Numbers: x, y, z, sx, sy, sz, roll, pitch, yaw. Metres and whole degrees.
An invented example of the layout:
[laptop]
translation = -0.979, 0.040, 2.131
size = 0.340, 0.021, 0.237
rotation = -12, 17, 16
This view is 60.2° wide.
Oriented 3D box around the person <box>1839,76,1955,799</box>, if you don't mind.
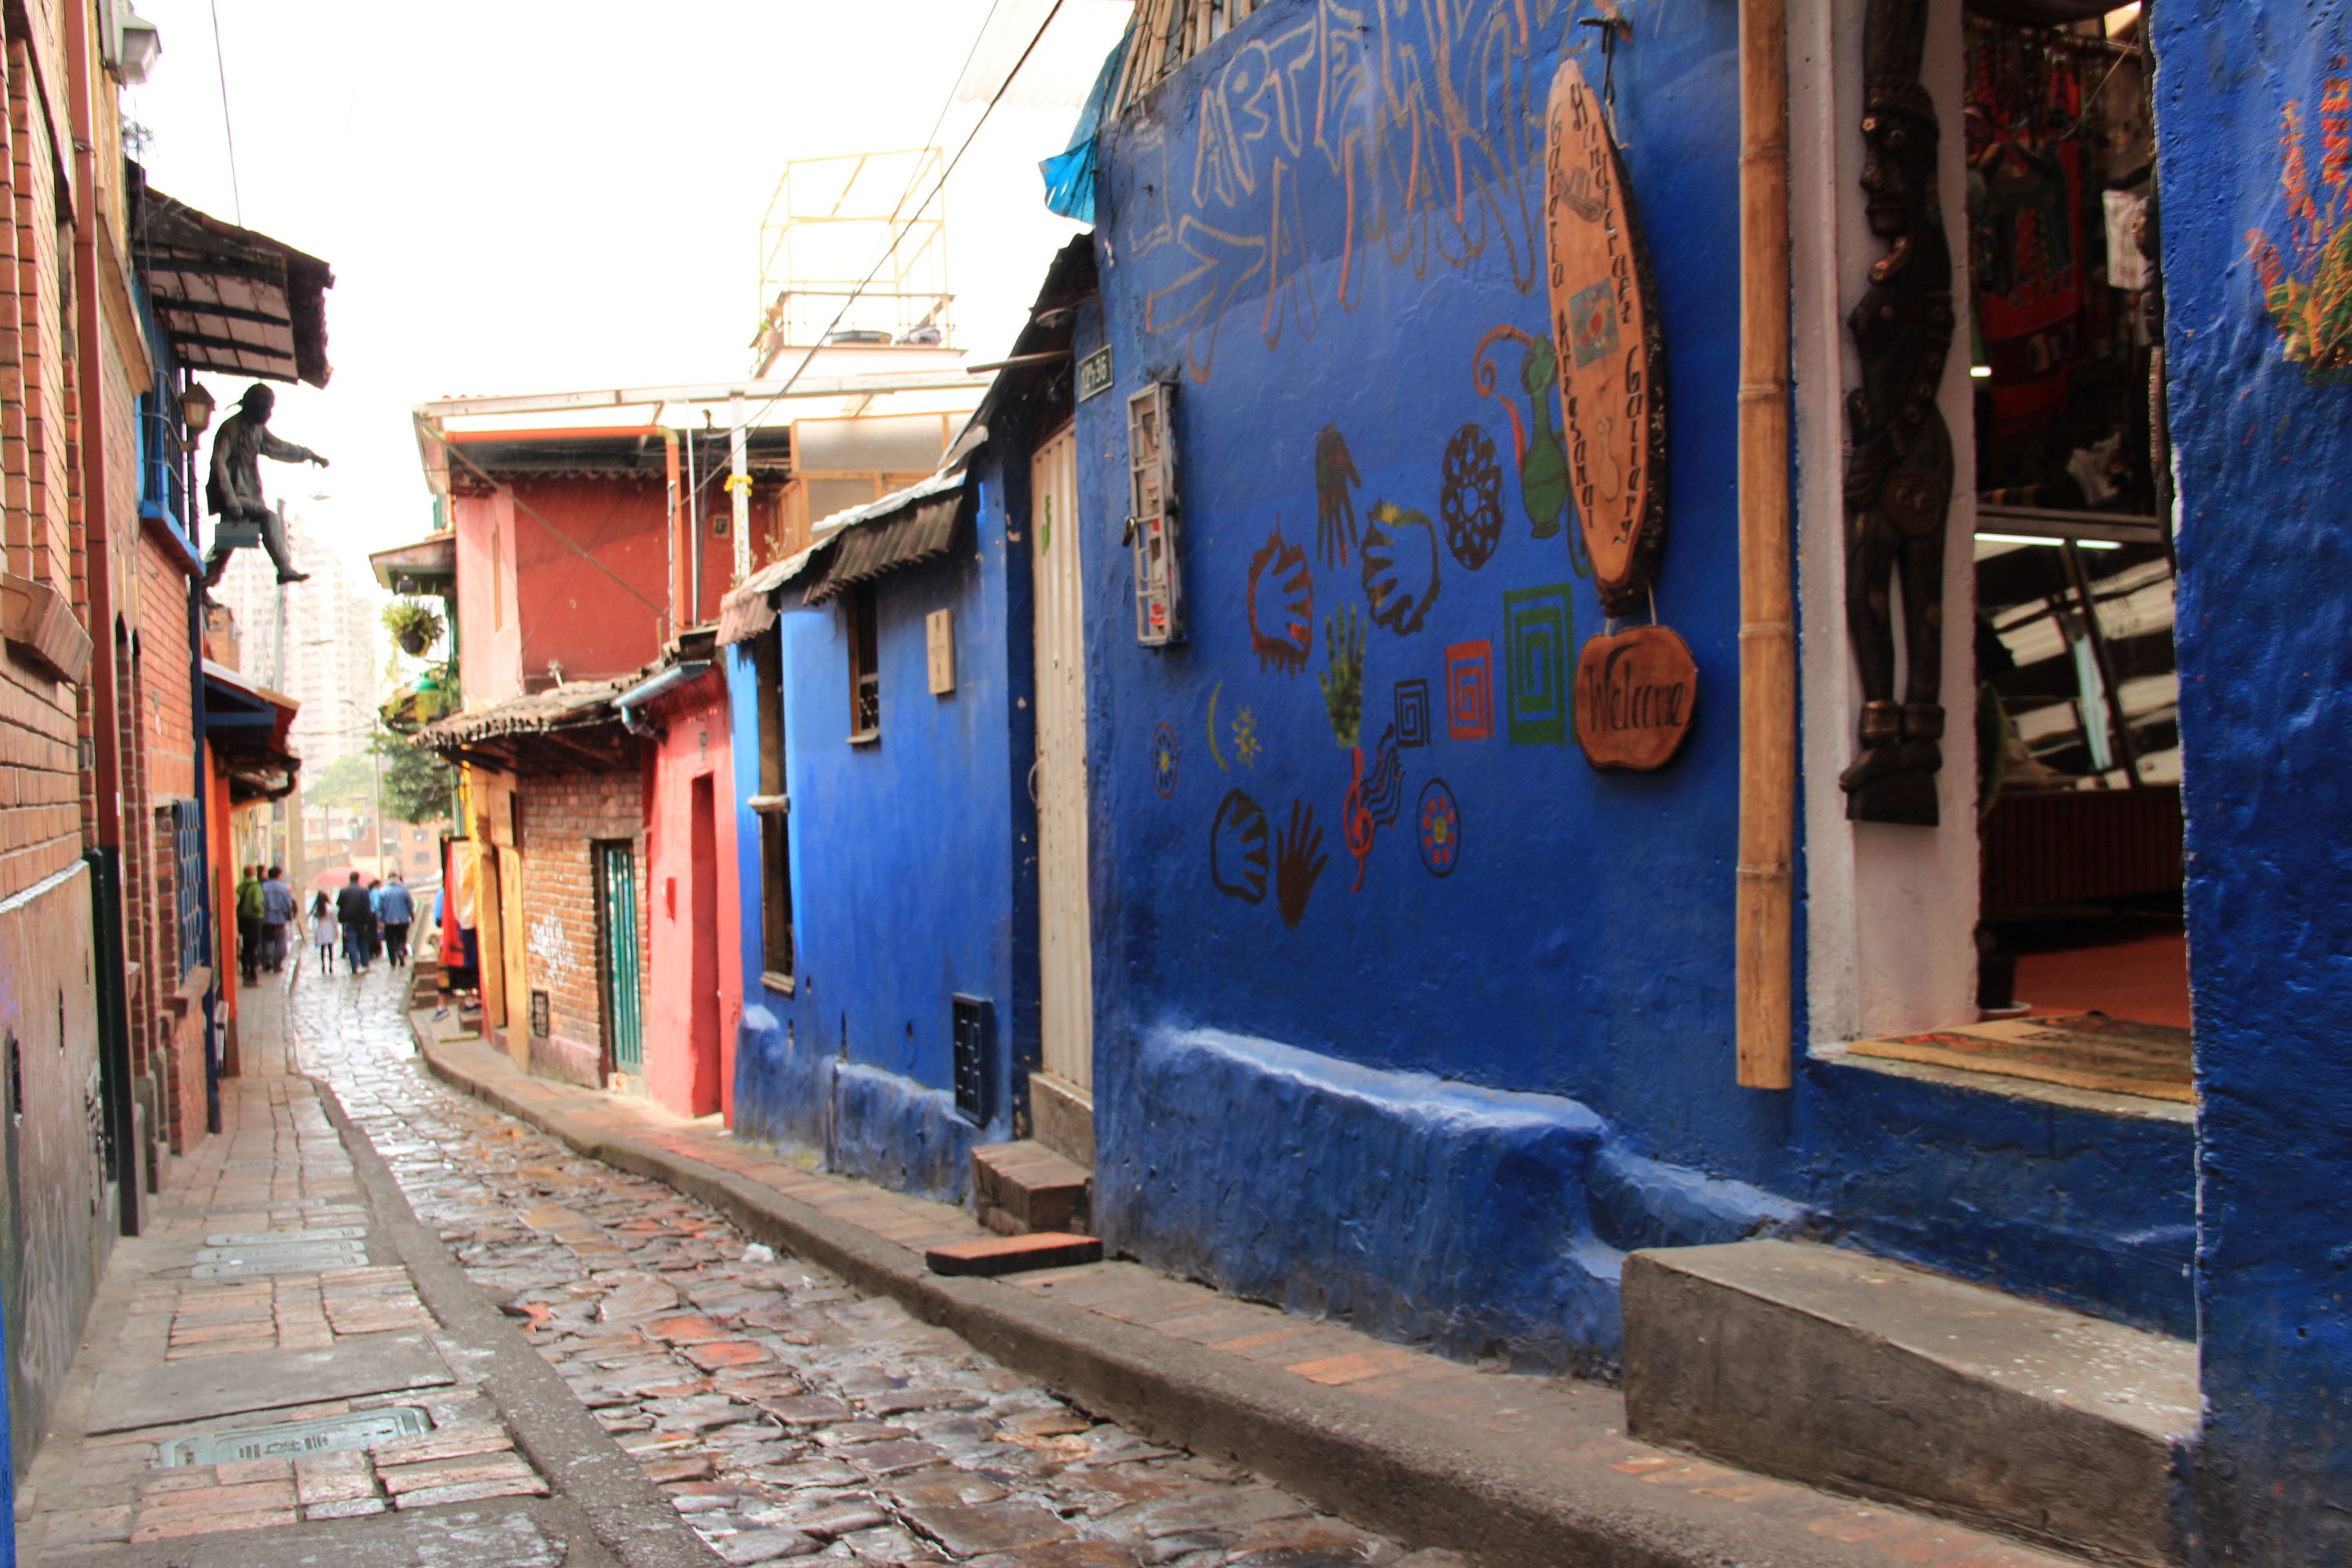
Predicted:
[person]
translation = 2.302, -0.941, 5.981
size = 0.384, 2.096, 0.140
rotation = 0, -1, -17
